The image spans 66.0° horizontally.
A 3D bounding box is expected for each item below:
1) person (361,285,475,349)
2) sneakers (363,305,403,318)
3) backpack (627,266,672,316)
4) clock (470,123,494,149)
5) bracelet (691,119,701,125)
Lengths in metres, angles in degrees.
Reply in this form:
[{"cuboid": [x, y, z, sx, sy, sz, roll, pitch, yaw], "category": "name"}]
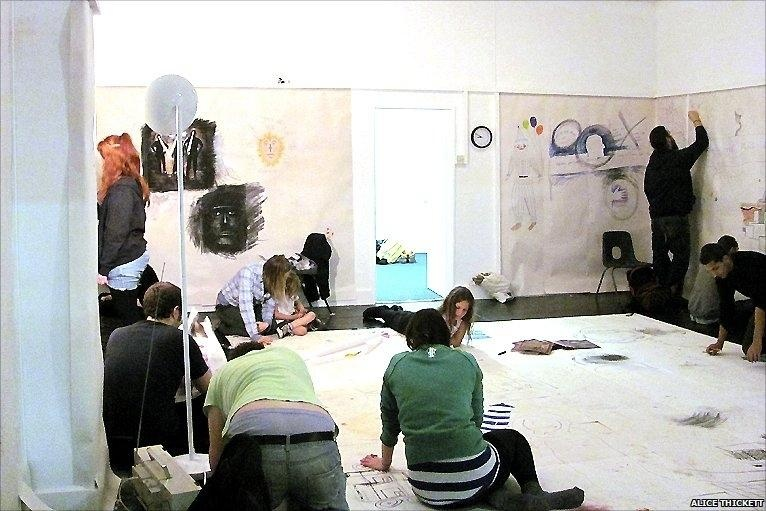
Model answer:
[{"cuboid": [0.321, 0.503, 5.703, 0.301, 0.528, 1.235, 3, 4, -45], "category": "person"}, {"cuboid": [-0.045, 0.627, 6.663, 0.490, 0.197, 0.166, -6, -1, 20], "category": "sneakers"}, {"cuboid": [3.230, 0.460, 7.218, 0.489, 0.642, 0.248, -16, -45, 33], "category": "backpack"}, {"cuboid": [1.289, -1.543, 7.682, 0.304, 0.287, 0.079, -4, 11, -20], "category": "clock"}, {"cuboid": [3.878, -1.660, 7.307, 0.078, 0.060, 0.065, 4, -5, -15], "category": "bracelet"}]
